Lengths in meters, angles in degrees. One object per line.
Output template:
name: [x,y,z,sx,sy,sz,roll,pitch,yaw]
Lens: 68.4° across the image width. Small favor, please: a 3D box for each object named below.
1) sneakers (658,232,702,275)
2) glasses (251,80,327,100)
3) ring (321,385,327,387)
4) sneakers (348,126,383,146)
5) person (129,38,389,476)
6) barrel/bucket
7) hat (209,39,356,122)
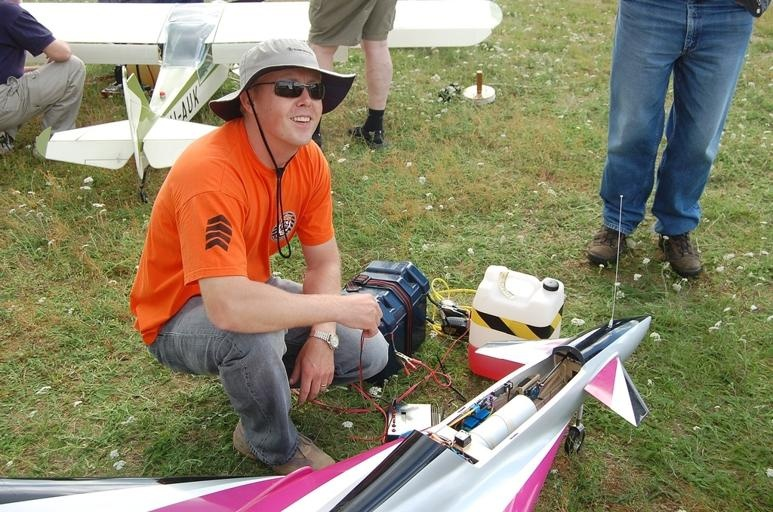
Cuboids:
sneakers: [2.371,-0.003,4.536,0.164,0.213,0.473,-21,39,3]
glasses: [-0.483,-0.900,3.130,0.278,0.123,0.081,-8,37,-13]
ring: [-0.377,0.772,3.399,0.024,0.007,0.023,1,2,0]
sneakers: [-0.252,-1.335,6.267,0.453,0.190,0.177,31,44,32]
person: [-0.689,0.016,3.275,1.250,2.135,1.160,21,40,25]
barrel/bucket: [0.834,0.449,3.651,0.484,0.652,0.362,21,34,28]
hat: [-0.587,-1.036,3.120,0.655,0.289,0.645,-7,-10,-30]
